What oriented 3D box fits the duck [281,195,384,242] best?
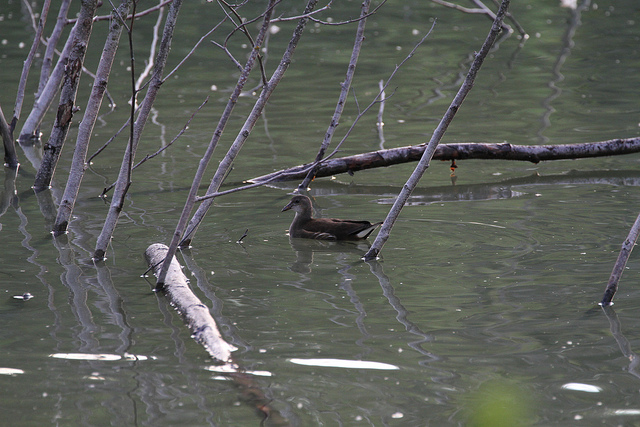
[{"bbox_3d":[0.121,0.101,12.086,1.772,0.684,0.574,8,12,28],"label":"duck"}]
